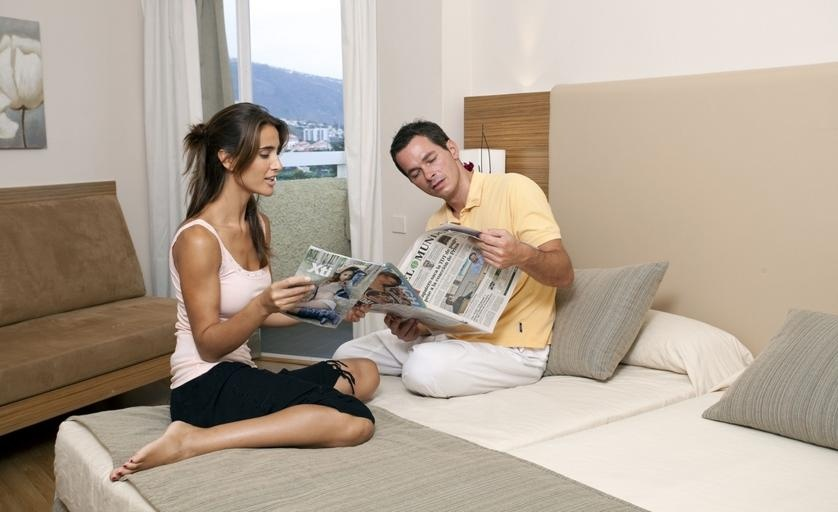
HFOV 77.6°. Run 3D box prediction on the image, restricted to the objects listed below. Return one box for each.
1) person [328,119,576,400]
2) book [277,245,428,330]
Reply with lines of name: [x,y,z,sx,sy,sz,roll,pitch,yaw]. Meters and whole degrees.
person: [0.138,0.001,2.694,1.105,1.314,1.323,-6,1,-41]
book: [-0.251,0.141,2.038,0.460,0.333,0.126,10,50,-19]
